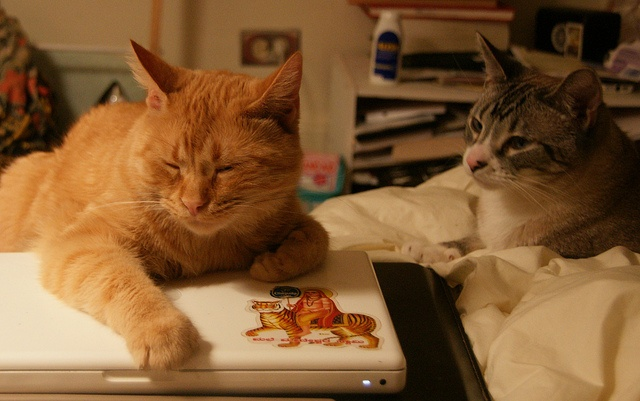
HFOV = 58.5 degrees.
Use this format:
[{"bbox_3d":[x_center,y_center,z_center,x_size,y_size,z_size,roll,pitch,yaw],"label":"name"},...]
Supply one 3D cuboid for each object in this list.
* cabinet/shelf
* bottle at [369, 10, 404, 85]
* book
[{"bbox_3d":[0.594,-0.258,2.100,0.638,0.431,0.332,-1,0,-2],"label":"cabinet/shelf"},{"bbox_3d":[0.286,-0.654,2.450,0.133,0.266,0.197,3,36,7],"label":"bottle"},{"bbox_3d":[0.406,-0.244,2.527,0.417,0.142,0.403,-1,25,5],"label":"book"}]
